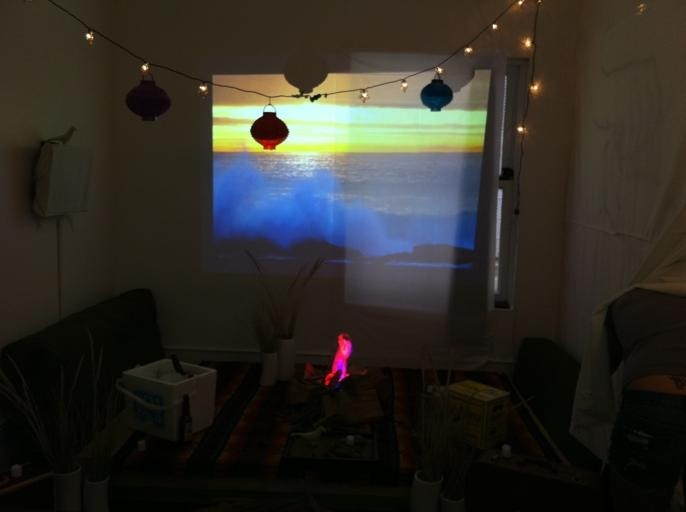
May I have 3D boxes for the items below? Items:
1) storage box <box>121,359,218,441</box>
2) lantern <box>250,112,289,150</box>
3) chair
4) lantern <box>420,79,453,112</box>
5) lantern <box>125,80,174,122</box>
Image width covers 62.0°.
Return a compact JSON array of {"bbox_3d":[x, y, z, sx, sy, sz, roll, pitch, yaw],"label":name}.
[{"bbox_3d":[-0.963,0.768,3.202,0.472,0.351,0.390,1,1,26],"label":"storage box"},{"bbox_3d":[-0.476,-0.810,3.696,0.223,0.209,0.226,3,10,9],"label":"lantern"},{"bbox_3d":[1.319,0.866,3.515,0.364,0.446,1.180,-1,12,6],"label":"chair"},{"bbox_3d":[0.636,-1.102,3.886,0.158,0.189,0.157,-2,7,-44],"label":"lantern"},{"bbox_3d":[-1.148,-0.902,3.376,0.235,0.218,0.243,-3,15,-24],"label":"lantern"}]
